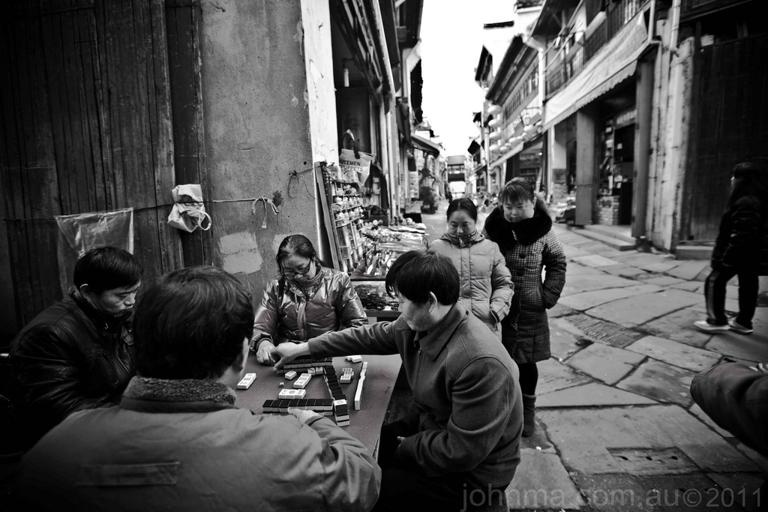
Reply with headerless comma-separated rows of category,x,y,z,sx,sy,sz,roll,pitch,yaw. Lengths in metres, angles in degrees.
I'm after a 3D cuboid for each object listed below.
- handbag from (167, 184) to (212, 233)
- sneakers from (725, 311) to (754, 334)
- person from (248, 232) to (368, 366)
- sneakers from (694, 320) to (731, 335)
handbag,-2.248,-0.549,6.212,0.515,0.442,0.227,5,1,-15
sneakers,4.533,0.869,6.850,0.154,0.186,0.412,-13,25,-14
person,-0.634,0.292,5.584,1.232,1.440,1.108,-1,11,-1
sneakers,4.172,0.910,6.755,0.395,0.178,0.161,7,3,32
